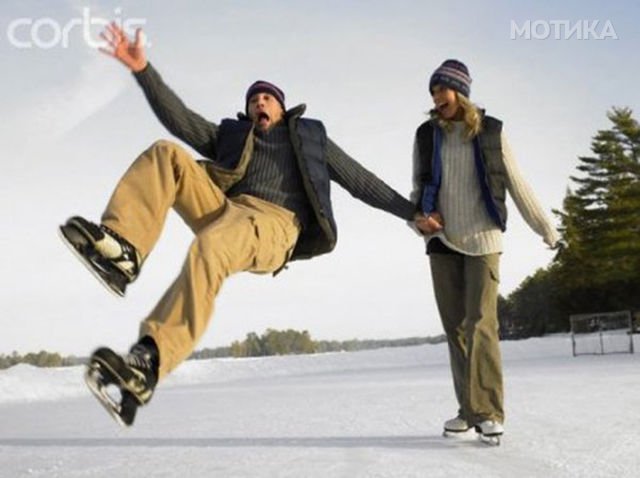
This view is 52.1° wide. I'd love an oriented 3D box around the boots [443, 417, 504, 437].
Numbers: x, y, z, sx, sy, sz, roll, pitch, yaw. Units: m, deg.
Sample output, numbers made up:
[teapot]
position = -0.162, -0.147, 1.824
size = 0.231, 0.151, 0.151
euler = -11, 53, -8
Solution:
[boots]
position = 1.360, 1.680, 5.787
size = 0.272, 0.170, 0.573
euler = 11, -21, -35
